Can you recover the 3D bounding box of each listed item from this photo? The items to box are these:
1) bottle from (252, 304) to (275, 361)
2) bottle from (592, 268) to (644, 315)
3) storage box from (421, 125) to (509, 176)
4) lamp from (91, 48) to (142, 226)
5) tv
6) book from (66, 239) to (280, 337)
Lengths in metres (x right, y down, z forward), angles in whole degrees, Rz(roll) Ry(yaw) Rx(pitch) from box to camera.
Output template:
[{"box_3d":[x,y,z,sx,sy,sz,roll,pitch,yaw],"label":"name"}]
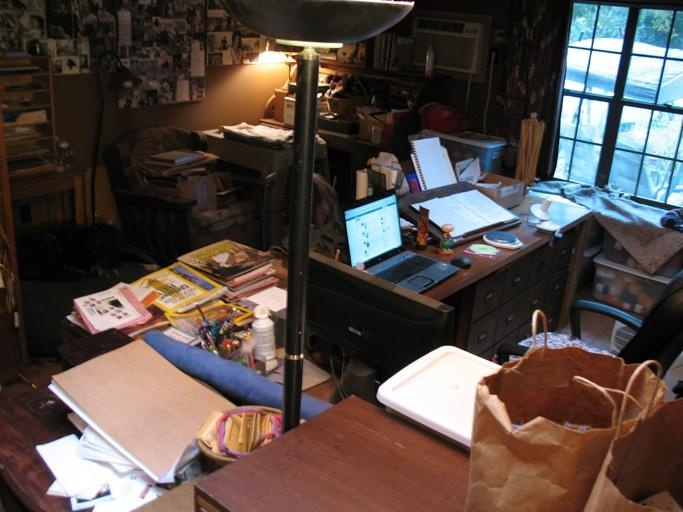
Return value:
[{"box_3d":[-0.290,0.294,2.014,0.094,0.234,0.096,-2,23,1],"label":"bottle"},{"box_3d":[2.277,0.285,4.497,0.345,0.216,0.343,4,26,-2],"label":"bottle"},{"box_3d":[1.206,-1.035,5.177,0.616,0.421,0.621,-16,36,-28],"label":"storage box"},{"box_3d":[-2.030,-0.979,4.766,0.490,1.539,0.346,0,8,-19],"label":"lamp"},{"box_3d":[0.074,0.278,1.812,0.162,0.439,0.607,-23,27,-33],"label":"tv"},{"box_3d":[-0.620,0.111,2.518,0.402,0.170,0.551,23,36,38],"label":"book"}]
